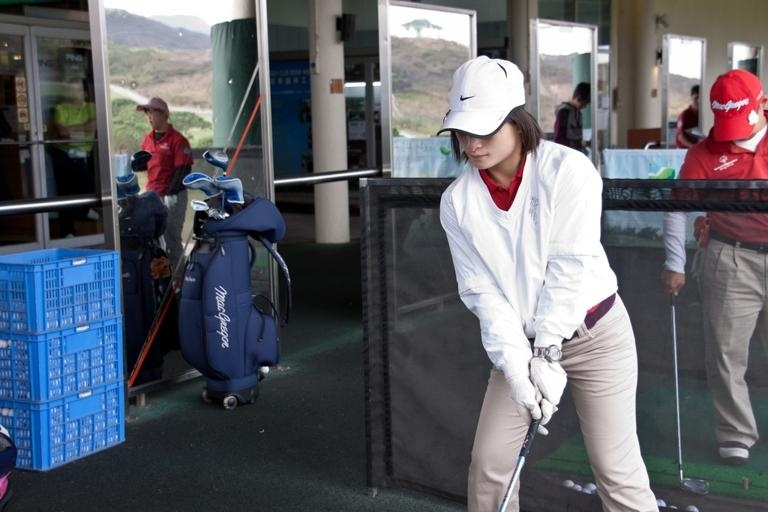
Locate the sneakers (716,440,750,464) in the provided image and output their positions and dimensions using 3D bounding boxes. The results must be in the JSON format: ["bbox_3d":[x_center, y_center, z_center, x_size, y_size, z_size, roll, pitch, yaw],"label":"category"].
[{"bbox_3d":[1.581,0.890,3.137,0.119,0.109,0.093,-16,-18,32],"label":"sneakers"}]

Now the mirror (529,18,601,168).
[{"bbox_3d":[2.352,-2.150,9.046,0.977,1.945,0.093,5,-11,-12],"label":"mirror"}]

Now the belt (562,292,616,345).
[{"bbox_3d":[0.865,0.276,2.909,0.068,0.223,0.282,37,-13,9],"label":"belt"}]

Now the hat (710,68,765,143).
[{"bbox_3d":[2.027,-0.870,3.967,0.271,0.446,0.244,2,-28,36],"label":"hat"}]

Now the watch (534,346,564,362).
[{"bbox_3d":[0.632,0.374,2.656,0.092,0.056,0.090,3,-11,-13],"label":"watch"}]

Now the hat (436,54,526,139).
[{"bbox_3d":[0.392,-0.673,2.791,0.349,0.288,0.514,13,30,36],"label":"hat"}]

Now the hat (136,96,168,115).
[{"bbox_3d":[-1.840,-1.201,5.502,0.062,0.134,0.316,5,15,25],"label":"hat"}]
